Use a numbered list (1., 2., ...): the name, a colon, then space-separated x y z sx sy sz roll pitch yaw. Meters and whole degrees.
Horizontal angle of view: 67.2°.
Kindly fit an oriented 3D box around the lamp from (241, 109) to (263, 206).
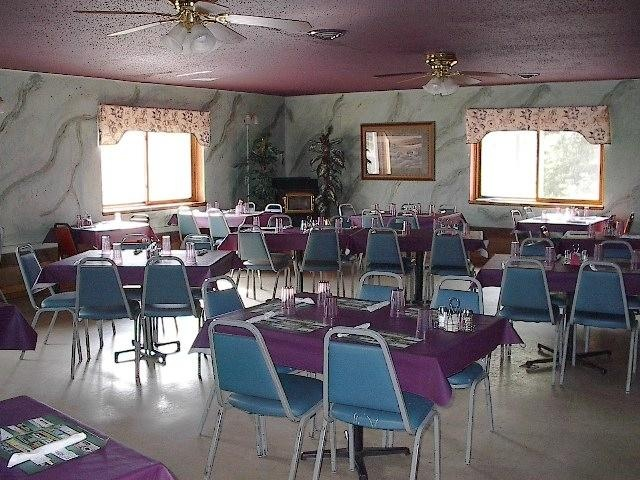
1. lamp: -1.611 -1.772 10.793 0.473 2.109 0.441 -2 11 -25

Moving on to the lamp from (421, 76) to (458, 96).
1. lamp: 1.463 -1.858 5.803 0.399 0.187 0.245 0 4 7

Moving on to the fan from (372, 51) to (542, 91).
1. fan: 2.033 -2.454 6.968 1.279 0.295 1.295 1 9 19
